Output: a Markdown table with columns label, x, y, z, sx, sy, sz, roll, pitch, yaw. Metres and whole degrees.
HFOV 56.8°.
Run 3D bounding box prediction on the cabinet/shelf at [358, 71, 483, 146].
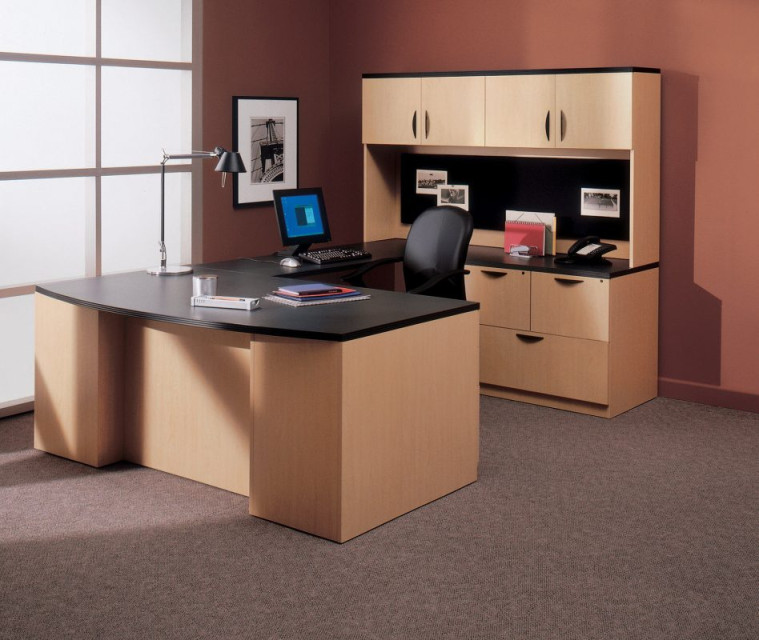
| label | x | y | z | sx | sy | sz | roll | pitch | yaw |
| --- | --- | --- | --- | --- | --- | --- | --- | --- | --- |
| cabinet/shelf | 0.331 | -1.475 | 5.088 | 0.889 | 0.505 | 0.356 | 2 | 2 | 5 |

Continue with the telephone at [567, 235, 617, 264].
| label | x | y | z | sx | sy | sz | roll | pitch | yaw |
| --- | --- | --- | --- | --- | --- | --- | --- | --- | --- |
| telephone | 1.352 | -0.446 | 4.487 | 0.179 | 0.124 | 0.247 | -20 | 13 | -25 |

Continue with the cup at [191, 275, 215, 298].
| label | x | y | z | sx | sy | sz | roll | pitch | yaw |
| --- | --- | --- | --- | --- | --- | --- | --- | --- | --- |
| cup | -0.817 | -0.158 | 3.298 | 0.094 | 0.100 | 0.097 | 1 | 15 | 0 |

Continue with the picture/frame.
| label | x | y | z | sx | sy | sz | roll | pitch | yaw |
| --- | --- | --- | --- | --- | --- | --- | --- | --- | --- |
| picture/frame | -0.887 | -1.305 | 5.405 | 0.042 | 1.102 | 0.825 | 13 | 19 | 39 |

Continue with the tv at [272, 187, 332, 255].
| label | x | y | z | sx | sy | sz | roll | pitch | yaw |
| --- | --- | --- | --- | --- | --- | --- | --- | --- | --- |
| tv | -0.542 | -0.679 | 4.824 | 0.486 | 0.541 | 0.261 | -11 | 12 | -42 |

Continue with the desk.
| label | x | y | z | sx | sy | sz | roll | pitch | yaw |
| --- | --- | --- | --- | --- | --- | --- | --- | --- | --- |
| desk | 0.138 | 0.241 | 3.766 | 1.607 | 0.746 | 2.283 | 6 | 10 | 38 |

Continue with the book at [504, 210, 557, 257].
| label | x | y | z | sx | sy | sz | roll | pitch | yaw |
| --- | --- | --- | --- | --- | --- | --- | --- | --- | --- |
| book | 1.061 | -0.591 | 4.854 | 0.274 | 0.259 | 0.039 | 10 | 13 | 44 |

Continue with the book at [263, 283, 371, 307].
| label | x | y | z | sx | sy | sz | roll | pitch | yaw |
| --- | --- | --- | --- | --- | --- | --- | --- | --- | --- |
| book | -0.280 | -0.119 | 3.272 | 0.491 | 0.069 | 0.249 | -1 | 11 | -9 |
